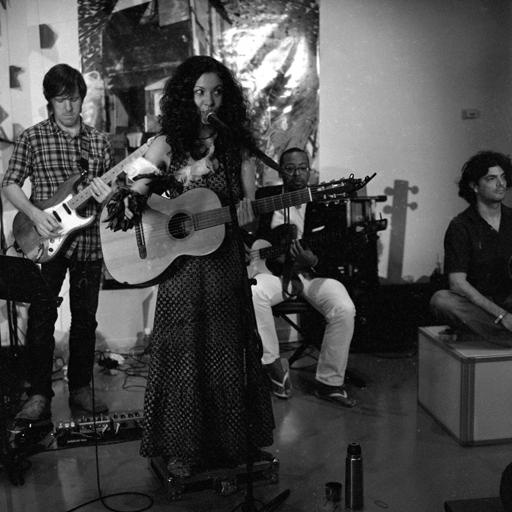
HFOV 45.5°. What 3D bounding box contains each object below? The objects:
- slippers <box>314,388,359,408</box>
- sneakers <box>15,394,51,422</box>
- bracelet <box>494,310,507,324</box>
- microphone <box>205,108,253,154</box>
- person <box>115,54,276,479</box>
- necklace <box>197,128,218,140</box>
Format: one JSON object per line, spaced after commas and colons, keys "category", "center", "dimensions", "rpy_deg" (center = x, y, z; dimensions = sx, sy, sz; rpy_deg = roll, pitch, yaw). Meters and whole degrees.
{"category": "slippers", "center": [0.417, 0.727, 3.193], "dimensions": [0.200, 0.083, 0.077], "rpy_deg": [2, 3, 34]}
{"category": "sneakers", "center": [-1.058, 0.727, 2.888], "dimensions": [0.143, 0.122, 0.185], "rpy_deg": [-3, 8, -14]}
{"category": "bracelet", "center": [1.155, 0.285, 2.866], "dimensions": [0.012, 0.048, 0.049], "rpy_deg": [35, -20, 15]}
{"category": "microphone", "center": [-0.058, -0.402, 2.054], "dimensions": [0.067, 0.059, 0.292], "rpy_deg": [-5, -22, 31]}
{"category": "person", "center": [-0.201, 0.053, 2.209], "dimensions": [0.526, 1.505, 0.368], "rpy_deg": [2, 8, 20]}
{"category": "necklace", "center": [-0.170, -0.428, 2.135], "dimensions": [0.061, 0.037, 0.015], "rpy_deg": [-6, 7, 0]}
